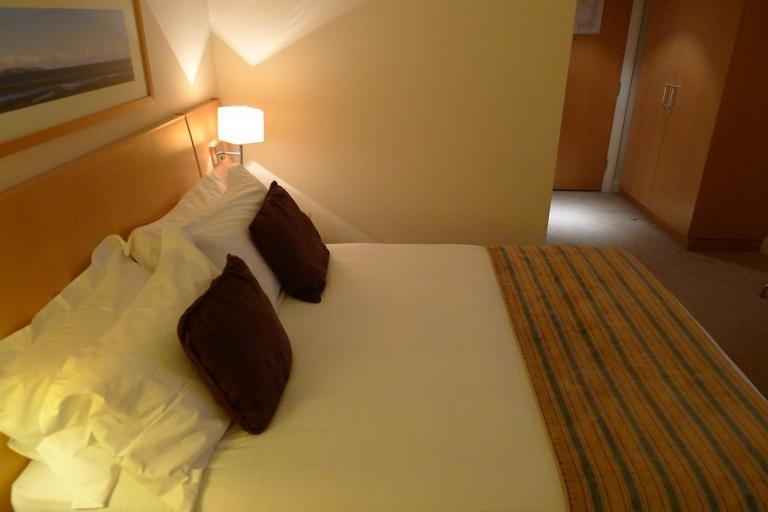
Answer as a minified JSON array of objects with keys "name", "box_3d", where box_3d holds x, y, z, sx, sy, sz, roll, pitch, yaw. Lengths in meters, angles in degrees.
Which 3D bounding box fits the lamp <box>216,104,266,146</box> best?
[{"name":"lamp","box_3d":[-1.011,-0.879,3.353,0.279,0.236,0.293,1,11,-8]}]

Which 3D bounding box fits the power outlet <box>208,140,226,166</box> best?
[{"name":"power outlet","box_3d":[-1.203,-0.736,3.421,0.049,0.146,0.146,-1,18,10]}]
